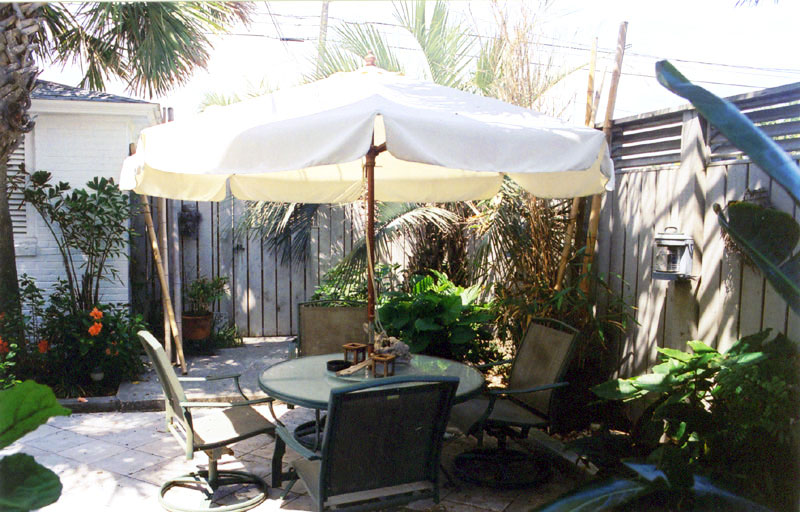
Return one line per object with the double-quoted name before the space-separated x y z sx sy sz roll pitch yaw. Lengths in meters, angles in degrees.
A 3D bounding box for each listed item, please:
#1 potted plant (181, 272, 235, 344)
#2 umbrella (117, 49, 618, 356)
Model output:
"potted plant" -2.645 0.684 7.795 0.455 0.687 0.445 9 -16 -38
"umbrella" -0.189 -0.294 4.277 2.320 1.576 2.399 -5 2 5
